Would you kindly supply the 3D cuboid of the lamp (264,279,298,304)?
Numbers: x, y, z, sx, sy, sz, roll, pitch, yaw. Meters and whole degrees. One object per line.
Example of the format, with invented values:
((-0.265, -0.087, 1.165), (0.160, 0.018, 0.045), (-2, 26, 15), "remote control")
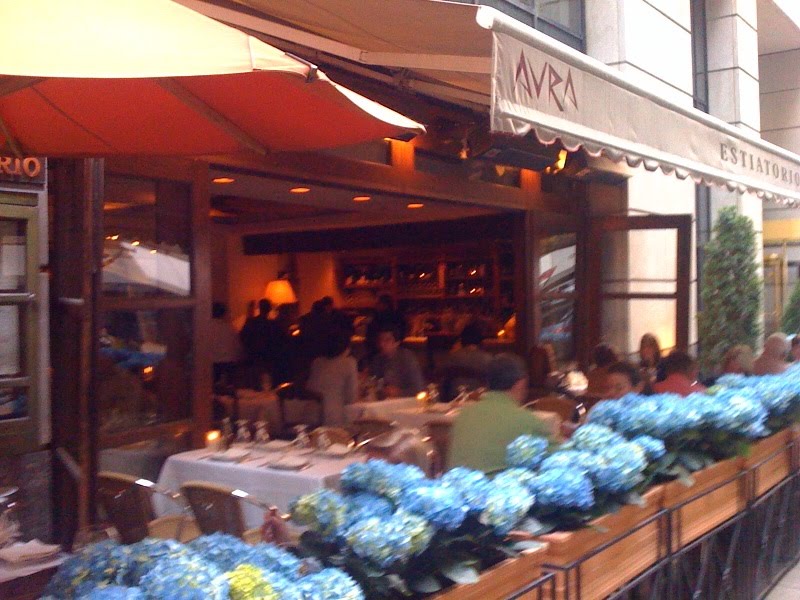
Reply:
((-1.943, -0.132, 12.181), (0.411, 0.383, 0.404), (-5, 9, -7), "lamp")
